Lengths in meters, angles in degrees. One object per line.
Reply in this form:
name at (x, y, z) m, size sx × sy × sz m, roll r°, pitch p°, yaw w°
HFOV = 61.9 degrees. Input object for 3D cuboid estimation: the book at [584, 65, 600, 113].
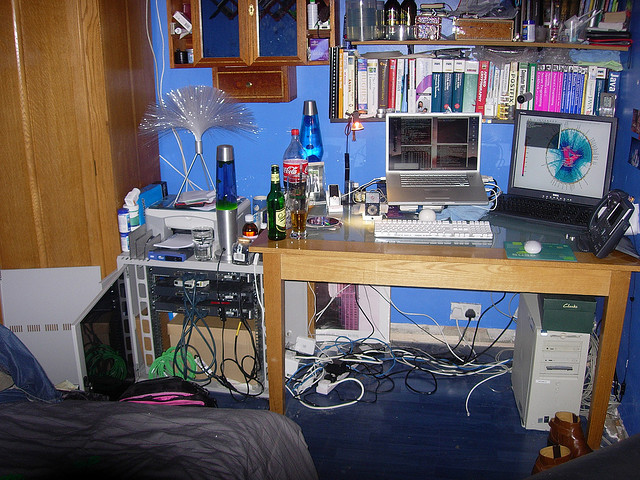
book at (1.520, -0.850, 3.023) m, size 0.031 × 0.219 × 0.292 m, roll 17°, pitch 39°, yaw 12°

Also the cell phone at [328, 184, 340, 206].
cell phone at (0.077, -0.254, 2.982) m, size 0.061 × 0.087 × 0.156 m, roll -2°, pitch 19°, yaw 1°

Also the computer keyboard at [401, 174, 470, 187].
computer keyboard at (0.629, -0.325, 2.924) m, size 0.362 × 0.056 × 0.107 m, roll -2°, pitch 19°, yaw 3°

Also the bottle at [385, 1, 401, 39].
bottle at (0.401, -1.209, 2.929) m, size 0.086 × 0.198 × 0.109 m, roll 0°, pitch 18°, yaw 7°

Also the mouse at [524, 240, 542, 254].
mouse at (0.954, 0.025, 2.396) m, size 0.058 × 0.022 × 0.065 m, roll 12°, pitch 37°, yaw 35°

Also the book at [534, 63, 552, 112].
book at (1.241, -0.853, 2.964) m, size 0.086 × 0.249 × 0.097 m, roll 2°, pitch 19°, yaw 14°

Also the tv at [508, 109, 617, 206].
tv at (1.270, -0.440, 2.815) m, size 0.503 × 0.491 × 0.037 m, roll 14°, pitch 33°, yaw 33°

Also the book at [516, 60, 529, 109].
book at (1.141, -0.874, 2.988) m, size 0.062 × 0.257 × 0.074 m, roll 4°, pitch 19°, yaw 19°

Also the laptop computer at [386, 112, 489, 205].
laptop computer at (0.609, -0.493, 2.787) m, size 0.538 × 0.375 × 0.412 m, roll 2°, pitch 9°, yaw 14°

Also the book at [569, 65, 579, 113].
book at (1.401, -0.831, 2.938) m, size 0.030 × 0.240 × 0.049 m, roll 7°, pitch 20°, yaw 27°

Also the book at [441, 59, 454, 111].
book at (0.716, -0.868, 2.997) m, size 0.064 × 0.272 × 0.034 m, roll -1°, pitch 18°, yaw 5°

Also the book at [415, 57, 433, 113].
book at (0.584, -0.884, 3.073) m, size 0.159 × 0.283 × 0.203 m, roll 0°, pitch 11°, yaw 0°

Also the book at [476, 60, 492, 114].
book at (0.920, -0.859, 2.994) m, size 0.075 × 0.276 × 0.039 m, roll -1°, pitch 18°, yaw 4°
